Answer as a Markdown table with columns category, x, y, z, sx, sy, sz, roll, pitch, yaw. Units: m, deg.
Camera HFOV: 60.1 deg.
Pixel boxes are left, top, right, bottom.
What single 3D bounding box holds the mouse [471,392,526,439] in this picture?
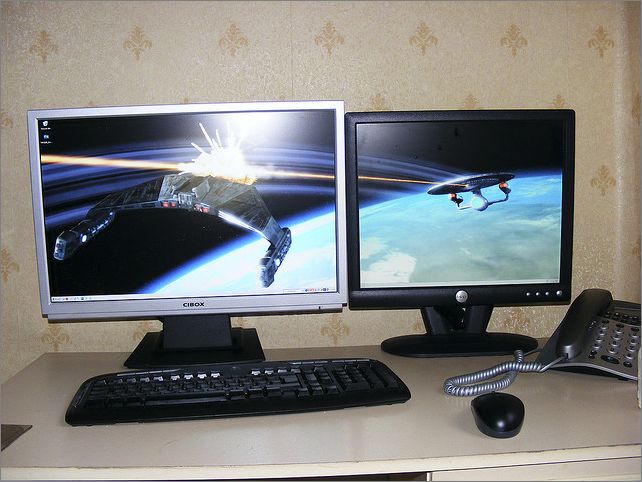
| category | x | y | z | sx | sy | sz | roll | pitch | yaw |
| --- | --- | --- | --- | --- | --- | --- | --- | --- | --- |
| mouse | 0.378 | 0.357 | 1.171 | 0.107 | 0.044 | 0.135 | -9 | 26 | -1 |

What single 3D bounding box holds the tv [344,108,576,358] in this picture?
| category | x | y | z | sx | sy | sz | roll | pitch | yaw |
| --- | --- | --- | --- | --- | --- | --- | --- | --- | --- |
| tv | 0.369 | -0.044 | 1.470 | 0.737 | 0.723 | 0.251 | -1 | -1 | -2 |
